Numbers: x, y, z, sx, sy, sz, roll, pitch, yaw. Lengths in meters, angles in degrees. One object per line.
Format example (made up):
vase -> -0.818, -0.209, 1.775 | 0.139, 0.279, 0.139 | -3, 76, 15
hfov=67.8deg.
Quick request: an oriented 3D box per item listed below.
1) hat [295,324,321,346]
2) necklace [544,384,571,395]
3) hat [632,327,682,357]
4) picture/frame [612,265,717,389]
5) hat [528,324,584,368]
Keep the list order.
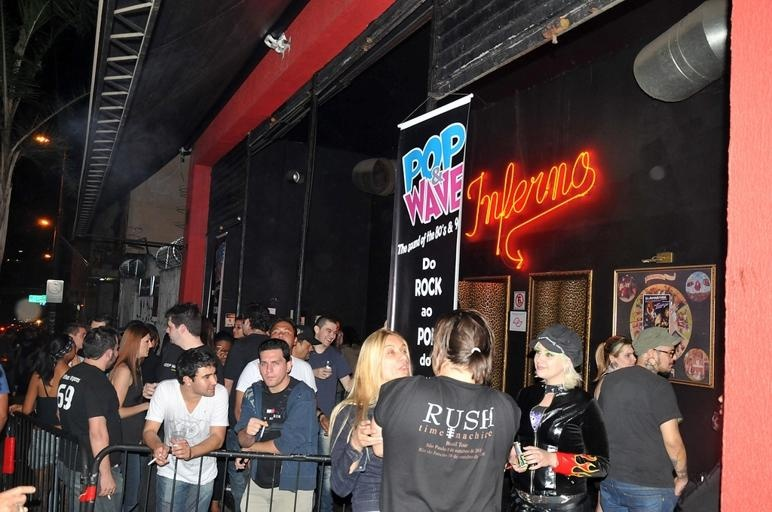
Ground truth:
hat -> -1.027, 1.043, 7.500 | 0.326, 0.186, 0.202 | 22, -16, -32
necklace -> 1.426, 1.125, 4.808 | 0.119, 0.049, 0.093 | 12, -11, -18
hat -> 2.649, 0.857, 5.610 | 0.384, 0.211, 0.279 | -14, 1, -3
picture/frame -> 3.321, 0.838, 6.715 | 0.062, 1.514, 1.346 | 13, -15, -35
hat -> 1.474, 0.712, 4.880 | 0.412, 0.225, 0.303 | 27, -11, -19
